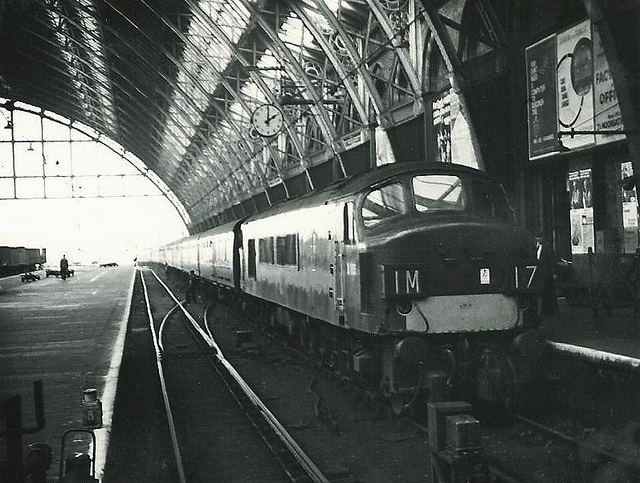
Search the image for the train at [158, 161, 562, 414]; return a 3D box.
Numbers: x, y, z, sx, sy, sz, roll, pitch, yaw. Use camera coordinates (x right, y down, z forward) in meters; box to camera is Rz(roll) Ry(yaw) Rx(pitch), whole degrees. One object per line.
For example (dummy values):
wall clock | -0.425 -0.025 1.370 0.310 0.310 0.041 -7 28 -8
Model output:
train | 0.326 0.859 14.548 3.524 4.873 11.505 0 -6 -27
